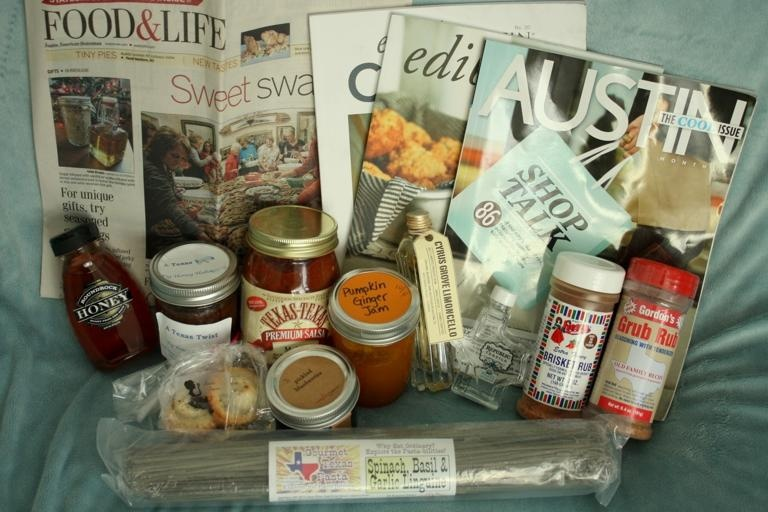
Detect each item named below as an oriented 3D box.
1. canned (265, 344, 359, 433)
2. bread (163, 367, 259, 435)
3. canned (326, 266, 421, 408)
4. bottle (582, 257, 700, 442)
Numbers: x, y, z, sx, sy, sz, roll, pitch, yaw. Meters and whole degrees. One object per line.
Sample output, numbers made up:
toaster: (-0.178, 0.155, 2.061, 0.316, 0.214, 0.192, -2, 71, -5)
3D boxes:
canned: (-0.126, 0.233, 1.059, 0.153, 0.077, 0.142, -5, 30, -17)
bread: (-0.298, 0.254, 1.055, 0.161, 0.072, 0.091, -1, 29, -10)
canned: (-0.029, 0.196, 1.169, 0.161, 0.187, 0.181, -1, 16, -5)
bottle: (0.447, 0.175, 1.073, 0.115, 0.290, 0.184, 17, 31, 21)
